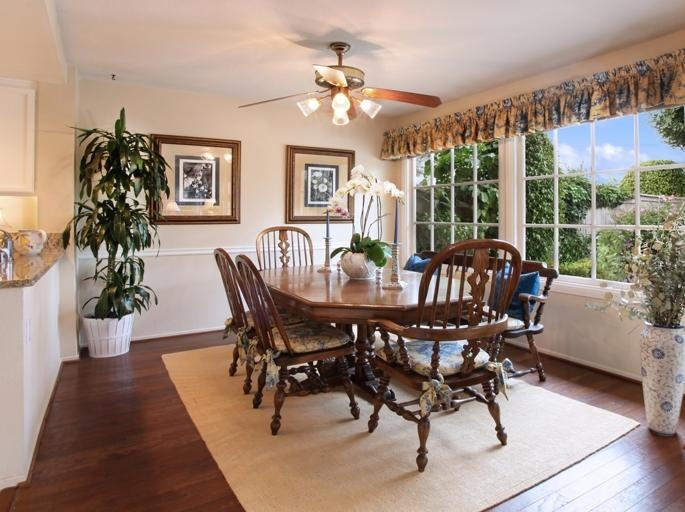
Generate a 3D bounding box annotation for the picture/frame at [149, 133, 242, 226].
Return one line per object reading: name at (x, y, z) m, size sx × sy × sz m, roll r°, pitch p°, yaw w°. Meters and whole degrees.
picture/frame at (-1.606, -0.832, 4.828) m, size 1.133 × 1.166 × 0.084 m, roll 0°, pitch 0°, yaw -28°

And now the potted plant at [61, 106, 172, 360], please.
potted plant at (-2.119, -0.205, 4.332) m, size 0.926 × 2.283 × 0.898 m, roll -7°, pitch 16°, yaw -24°

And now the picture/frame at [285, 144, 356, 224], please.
picture/frame at (-0.307, -0.868, 5.329) m, size 1.200 × 1.221 × 0.083 m, roll -2°, pitch 6°, yaw -27°

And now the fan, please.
fan at (0.143, -1.280, 3.652) m, size 1.123 × 0.439 × 1.133 m, roll 5°, pitch 9°, yaw 30°

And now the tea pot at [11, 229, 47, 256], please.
tea pot at (-2.706, -0.118, 3.875) m, size 0.270 × 0.212 × 0.183 m, roll 4°, pitch 15°, yaw 17°
